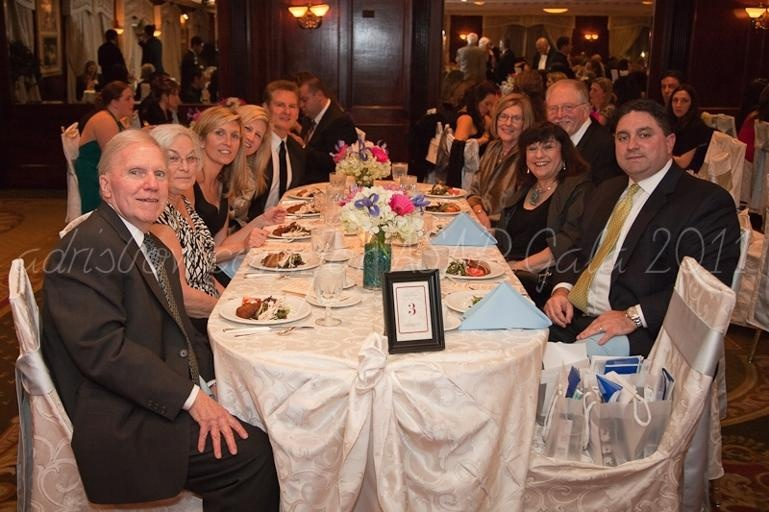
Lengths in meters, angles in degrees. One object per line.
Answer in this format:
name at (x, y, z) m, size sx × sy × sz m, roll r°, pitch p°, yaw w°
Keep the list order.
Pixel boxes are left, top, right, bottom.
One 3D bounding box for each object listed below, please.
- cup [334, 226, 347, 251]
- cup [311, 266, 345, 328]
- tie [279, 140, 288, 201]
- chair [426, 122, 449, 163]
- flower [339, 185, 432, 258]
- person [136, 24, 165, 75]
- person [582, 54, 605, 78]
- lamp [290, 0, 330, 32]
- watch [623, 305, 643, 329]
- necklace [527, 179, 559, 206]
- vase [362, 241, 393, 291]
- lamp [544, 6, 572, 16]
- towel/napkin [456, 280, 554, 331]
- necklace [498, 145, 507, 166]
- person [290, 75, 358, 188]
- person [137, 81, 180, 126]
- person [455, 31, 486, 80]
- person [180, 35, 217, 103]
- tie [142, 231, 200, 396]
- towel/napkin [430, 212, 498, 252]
cup at (-0.250, -0.106, 3.194) m, size 0.109 × 0.125 × 0.113 m, roll 2°, pitch 27°, yaw -1°
cup at (-0.239, 0.164, 2.455) m, size 0.139 × 0.249 × 0.152 m, roll 1°, pitch 0°, yaw 0°
tie at (-0.872, -0.765, 5.082) m, size 0.051 × 0.537 × 0.139 m, roll -6°, pitch 9°, yaw -18°
chair at (0.652, -1.355, 6.680) m, size 0.238 × 0.391 × 0.265 m, roll 0°, pitch 23°, yaw 8°
flower at (-0.023, -0.158, 2.534) m, size 0.274 × 0.199 × 0.277 m, roll 9°, pitch 8°, yaw 37°
person at (-3.755, -3.339, 9.195) m, size 0.346 × 0.756 × 0.136 m, roll -2°, pitch 15°, yaw -5°
person at (4.099, -3.668, 11.139) m, size 0.370 × 0.477 × 0.969 m, roll 4°, pitch 15°, yaw 20°
lamp at (-1.169, -3.761, 9.102) m, size 0.558 × 0.428 × 0.402 m, roll 1°, pitch 21°, yaw 2°
watch at (1.233, 0.294, 2.805) m, size 0.065 × 0.106 × 0.103 m, roll -17°, pitch 36°, yaw -3°
necklace at (1.035, -0.411, 3.775) m, size 0.043 × 0.183 × 0.127 m, roll 32°, pitch -32°, yaw -16°
vase at (-0.032, 0.017, 2.676) m, size 0.147 × 0.263 × 0.151 m, roll 0°, pitch 10°, yaw -15°
lamp at (3.673, -5.240, 12.213) m, size 0.608 × 0.148 × 0.074 m, roll -6°, pitch 15°, yaw -20°
towel/napkin at (0.514, 0.169, 2.461) m, size 0.371 × 0.147 × 0.363 m, roll 2°, pitch 18°, yaw 0°
necklace at (0.979, -0.832, 4.716) m, size 0.088 × 0.170 × 0.056 m, roll 7°, pitch -25°, yaw 19°
person at (-0.733, -1.319, 6.344) m, size 0.497 × 1.226 × 0.412 m, roll 8°, pitch 43°, yaw 2°
person at (-3.211, -2.251, 8.252) m, size 0.443 × 0.638 × 1.046 m, roll -2°, pitch 14°, yaw -5°
person at (1.644, -3.489, 10.574) m, size 0.487 × 1.134 × 0.552 m, roll 8°, pitch 18°, yaw 27°
person at (-2.981, -2.970, 9.142) m, size 0.719 × 1.017 × 0.209 m, roll 6°, pitch 16°, yaw 26°
tie at (-0.927, 0.254, 2.451) m, size 0.095 × 0.687 × 0.097 m, roll -14°, pitch -6°, yaw -6°
towel/napkin at (0.468, -0.137, 3.417) m, size 0.275 × 0.136 × 0.284 m, roll 0°, pitch 8°, yaw 0°
